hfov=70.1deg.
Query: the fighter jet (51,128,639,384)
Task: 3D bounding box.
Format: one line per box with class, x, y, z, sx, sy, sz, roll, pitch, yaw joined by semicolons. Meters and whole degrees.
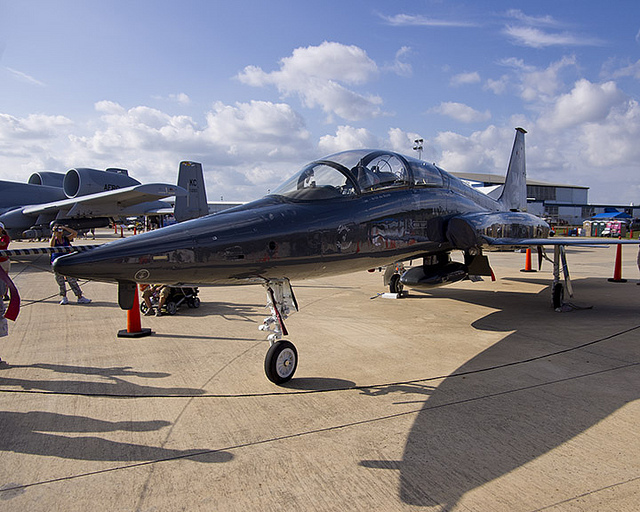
fighter jet;-0.242;-0.285;6.838;6.653;1.879;6.444;-2;1;-42
